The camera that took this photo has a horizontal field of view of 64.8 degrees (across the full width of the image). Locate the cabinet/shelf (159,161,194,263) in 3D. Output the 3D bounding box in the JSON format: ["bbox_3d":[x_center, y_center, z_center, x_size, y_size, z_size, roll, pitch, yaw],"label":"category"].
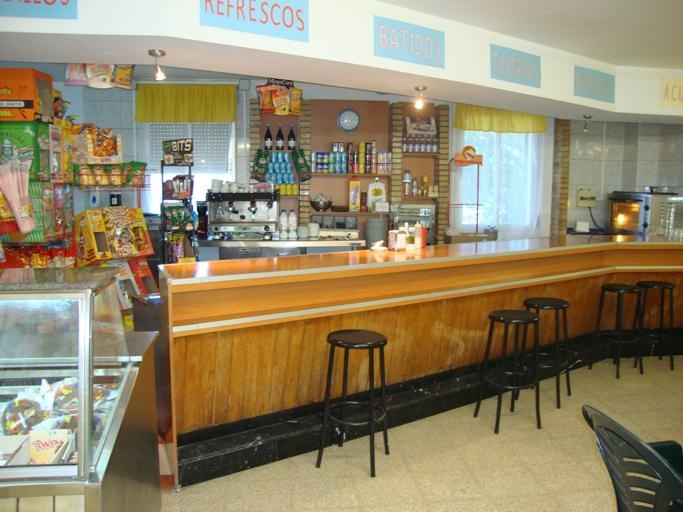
[{"bbox_3d":[-2.001,-0.527,6.488,0.452,1.210,0.631,-5,11,-14],"label":"cabinet/shelf"}]

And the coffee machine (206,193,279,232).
[{"bbox_3d":[-1.341,-0.588,7.209,0.995,0.543,0.556,0,5,-6],"label":"coffee machine"}]

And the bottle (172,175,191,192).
[{"bbox_3d":[-1.876,-0.853,6.307,0.201,0.188,0.074,1,11,19],"label":"bottle"}]

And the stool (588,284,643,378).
[{"bbox_3d":[2.832,0.659,5.466,0.471,0.871,1.104,3,11,28],"label":"stool"}]

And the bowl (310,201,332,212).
[{"bbox_3d":[-0.316,-0.765,8.173,0.329,0.193,0.310,-2,9,0],"label":"bowl"}]

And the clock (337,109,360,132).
[{"bbox_3d":[0.083,-2.105,8.329,0.389,0.327,0.085,-2,4,-5],"label":"clock"}]

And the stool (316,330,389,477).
[{"bbox_3d":[0.074,0.928,3.794,0.514,0.925,0.897,-2,10,4],"label":"stool"}]

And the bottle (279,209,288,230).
[{"bbox_3d":[-0.775,-0.474,7.088,0.114,0.234,0.177,-4,10,-10],"label":"bottle"}]

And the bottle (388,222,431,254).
[{"bbox_3d":[0.583,-0.174,4.839,0.393,0.246,0.200,0,4,-12],"label":"bottle"}]

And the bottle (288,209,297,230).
[{"bbox_3d":[-0.654,-0.459,7.094,0.103,0.241,0.174,-2,10,2],"label":"bottle"}]

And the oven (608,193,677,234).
[{"bbox_3d":[4.473,-0.637,7.933,0.597,0.512,0.799,-1,7,-8],"label":"oven"}]

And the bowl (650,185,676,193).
[{"bbox_3d":[5.288,-1.109,8.910,0.433,0.114,0.513,5,11,35],"label":"bowl"}]

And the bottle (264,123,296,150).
[{"bbox_3d":[-0.930,-1.788,8.061,0.497,0.391,0.153,0,10,-4],"label":"bottle"}]

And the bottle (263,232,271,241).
[{"bbox_3d":[-0.978,-0.261,7.057,0.103,0.083,0.124,1,3,0],"label":"bottle"}]
